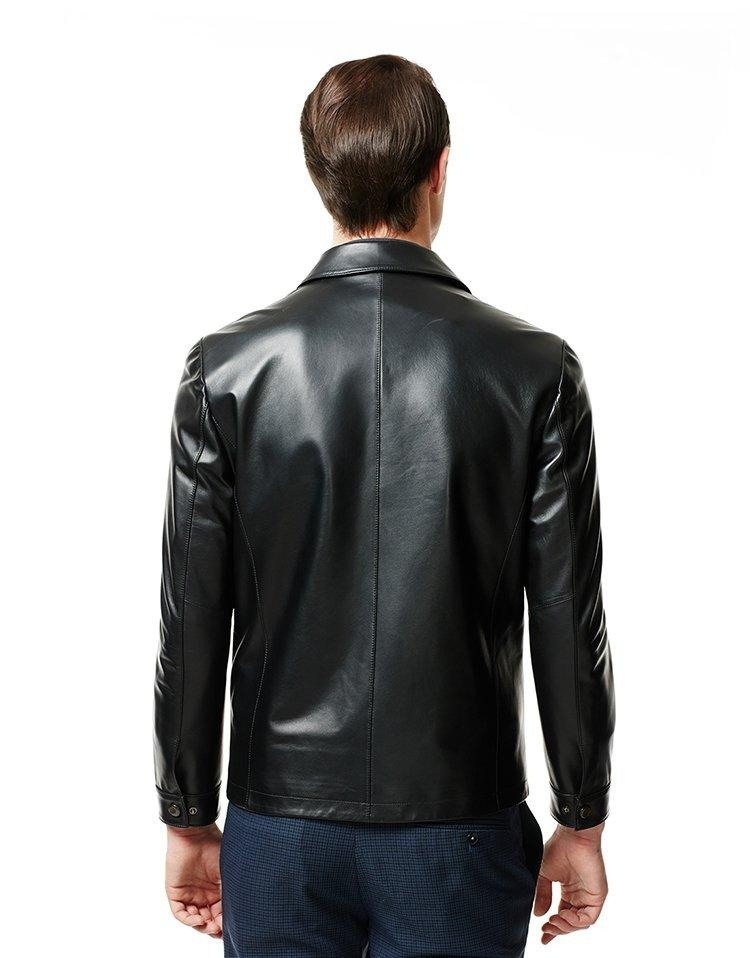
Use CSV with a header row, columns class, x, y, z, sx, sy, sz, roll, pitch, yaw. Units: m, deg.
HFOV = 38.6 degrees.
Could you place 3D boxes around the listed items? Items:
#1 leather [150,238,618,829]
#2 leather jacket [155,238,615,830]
class,x,y,z,sx,sy,sz,roll,pitch,yaw
leather,0.026,0.109,1.741,0.822,1.300,0.364,0,6,5
leather jacket,0.026,0.109,1.742,0.824,1.305,0.364,0,6,6
